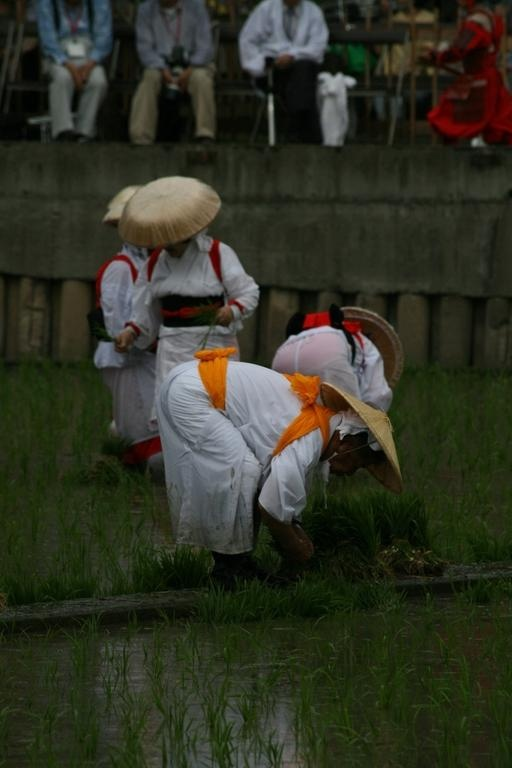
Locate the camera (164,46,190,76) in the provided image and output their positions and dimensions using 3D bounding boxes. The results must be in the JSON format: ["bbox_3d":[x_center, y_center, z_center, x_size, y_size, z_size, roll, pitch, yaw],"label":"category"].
[{"bbox_3d":[-0.498,-1.972,11.027,0.145,0.182,0.112,0,9,-5],"label":"camera"}]

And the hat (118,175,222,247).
[{"bbox_3d":[-0.355,-0.668,7.145,0.400,0.281,0.323,0,10,-6],"label":"hat"}]

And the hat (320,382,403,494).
[{"bbox_3d":[0.354,0.185,6.029,0.275,0.381,0.250,4,10,20],"label":"hat"}]

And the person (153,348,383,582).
[{"bbox_3d":[0.023,0.273,6.182,0.696,0.748,0.602,-3,12,-15],"label":"person"}]
